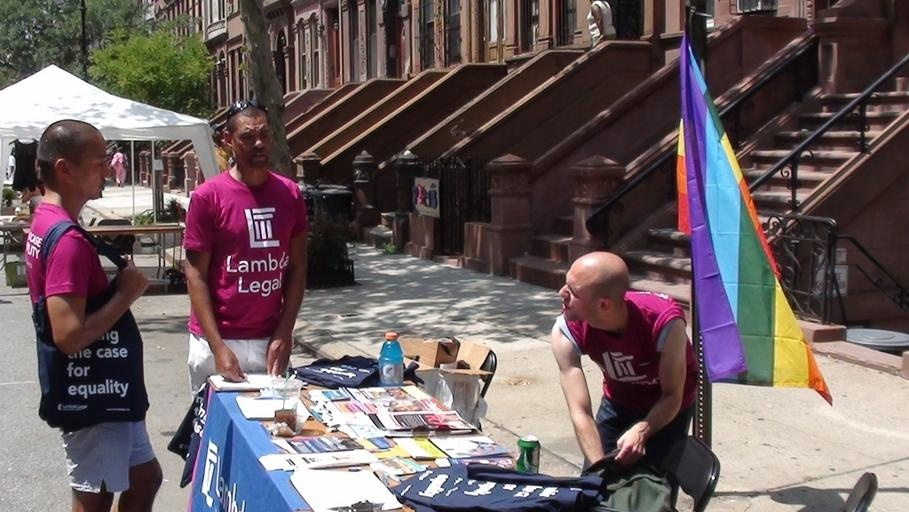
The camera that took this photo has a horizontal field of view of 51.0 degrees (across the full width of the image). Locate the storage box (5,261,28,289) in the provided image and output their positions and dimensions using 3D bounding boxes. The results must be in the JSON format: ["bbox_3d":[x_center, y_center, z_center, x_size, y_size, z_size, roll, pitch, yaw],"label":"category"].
[{"bbox_3d":[-8.055,0.364,17.439,0.463,0.482,0.455,-1,9,-23],"label":"storage box"}]

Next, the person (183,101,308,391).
[{"bbox_3d":[-2.120,-0.175,9.668,1.210,2.756,0.575,-1,7,-13],"label":"person"}]

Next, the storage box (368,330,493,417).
[{"bbox_3d":[-0.057,1.226,10.328,0.791,0.557,1.089,17,-4,-29],"label":"storage box"}]

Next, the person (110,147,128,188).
[{"bbox_3d":[-14.911,-3.928,42.594,0.944,1.746,0.592,-11,32,-28],"label":"person"}]
